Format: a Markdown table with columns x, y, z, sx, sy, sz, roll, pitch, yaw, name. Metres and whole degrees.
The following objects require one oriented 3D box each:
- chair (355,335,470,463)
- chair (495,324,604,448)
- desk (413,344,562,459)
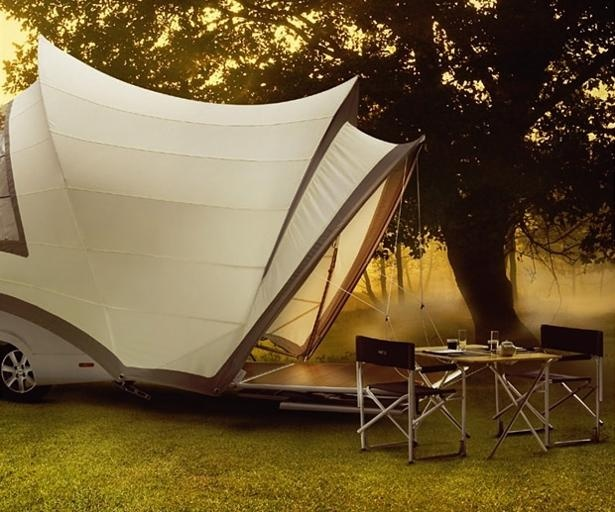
| x | y | z | sx | sy | sz | roll | pitch | yaw | name |
| --- | --- | --- | --- | --- | --- | --- | --- | --- | --- |
| 1.183 | 1.576 | 6.967 | 0.885 | 1.358 | 1.088 | 0 | -2 | -38 | chair |
| 2.878 | 1.500 | 7.299 | 0.856 | 1.372 | 1.139 | 1 | -3 | -22 | chair |
| 2.265 | 1.499 | 7.388 | 1.438 | 1.370 | 1.796 | 2 | -6 | -21 | desk |
